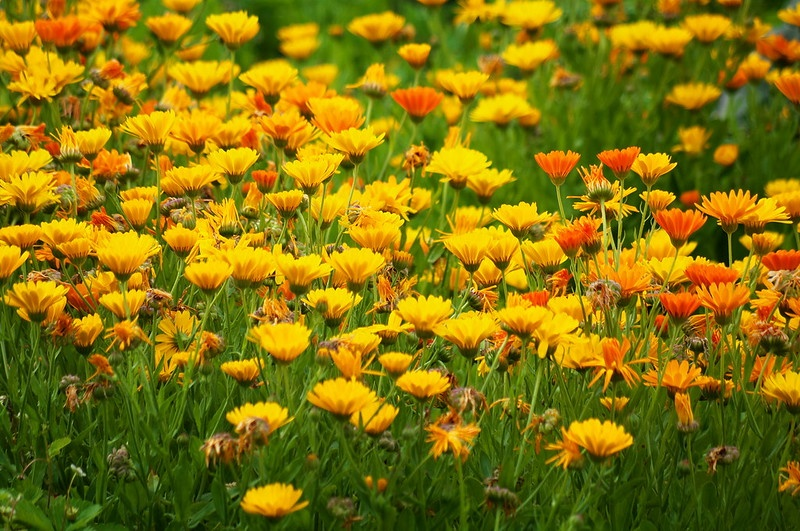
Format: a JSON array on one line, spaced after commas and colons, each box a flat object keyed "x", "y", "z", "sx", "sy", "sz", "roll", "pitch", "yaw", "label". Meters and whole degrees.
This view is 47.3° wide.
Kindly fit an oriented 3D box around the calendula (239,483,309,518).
[{"x": -0.265, "y": 0.465, "z": 1.892, "sx": 0.088, "sy": 0.045, "sz": 0.094, "roll": 2, "pitch": 4, "yaw": 35, "label": "calendula"}]
